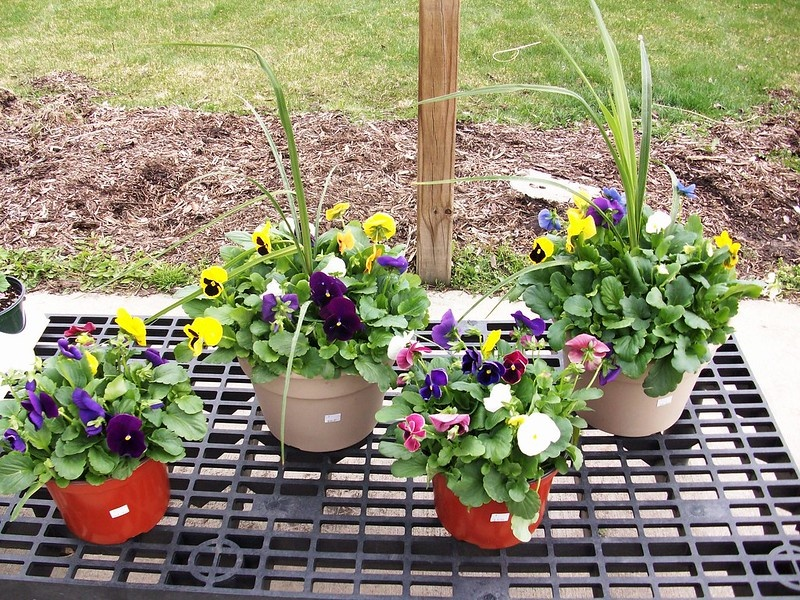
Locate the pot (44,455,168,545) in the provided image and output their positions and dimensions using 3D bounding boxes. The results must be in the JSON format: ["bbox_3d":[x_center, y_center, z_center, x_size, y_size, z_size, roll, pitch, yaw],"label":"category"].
[{"bbox_3d":[-0.830,0.598,1.900,0.276,0.214,0.277,-1,25,1],"label":"pot"}]

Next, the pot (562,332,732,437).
[{"bbox_3d":[0.792,0.336,2.102,0.362,0.262,0.370,-3,35,2],"label":"pot"}]
